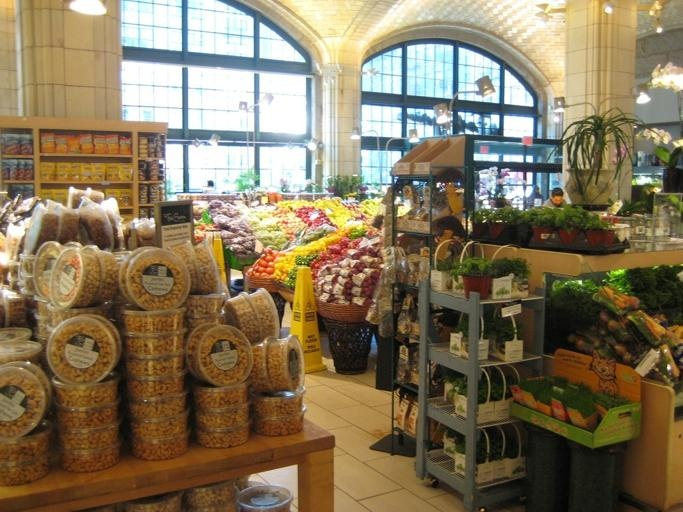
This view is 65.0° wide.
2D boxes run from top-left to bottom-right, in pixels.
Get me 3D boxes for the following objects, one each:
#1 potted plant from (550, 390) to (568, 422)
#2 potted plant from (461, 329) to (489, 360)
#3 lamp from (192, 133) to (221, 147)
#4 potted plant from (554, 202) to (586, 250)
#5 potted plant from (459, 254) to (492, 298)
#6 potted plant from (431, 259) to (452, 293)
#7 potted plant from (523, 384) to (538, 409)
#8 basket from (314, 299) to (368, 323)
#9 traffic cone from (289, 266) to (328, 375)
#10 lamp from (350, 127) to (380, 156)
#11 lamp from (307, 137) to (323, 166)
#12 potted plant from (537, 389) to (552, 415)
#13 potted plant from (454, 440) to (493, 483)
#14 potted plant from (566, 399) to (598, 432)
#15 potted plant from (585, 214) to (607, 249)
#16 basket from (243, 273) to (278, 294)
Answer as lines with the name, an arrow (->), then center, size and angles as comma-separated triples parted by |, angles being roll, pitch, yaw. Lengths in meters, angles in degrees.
potted plant -> 1.135, 0.770, 2.788 | 0.084, 0.121, 0.154 | 2, 8, 18
potted plant -> 0.759, 0.507, 3.008 | 0.173, 0.129, 0.161 | 0, 7, 4
lamp -> -3.903, -3.289, 15.529 | 0.859, 0.307, 0.611 | -3, 7, -14
potted plant -> 1.279, -0.165, 3.036 | 0.222, 0.248, 0.242 | 0, 10, 12
potted plant -> 0.747, 0.121, 2.982 | 0.159, 0.217, 0.177 | -1, 7, -6
potted plant -> 0.596, 0.128, 3.194 | 0.120, 0.171, 0.193 | -2, 5, -14
potted plant -> 1.020, 0.759, 2.909 | 0.066, 0.110, 0.129 | -3, 8, -19
basket -> 0.029, 0.526, 5.034 | 0.300, 0.102, 0.265 | -1, 4, -22
traffic cone -> -0.330, 0.621, 5.297 | 0.333, 1.023, 0.498 | -1, 7, -4
lamp -> 0.858, -3.941, 18.229 | 1.198, 0.929, 0.663 | -8, 14, -25
lamp -> -0.839, -3.380, 17.273 | 0.522, 0.792, 1.641 | -1, 7, -3
potted plant -> 1.083, 0.774, 2.826 | 0.062, 0.101, 0.096 | -4, 8, -23
potted plant -> 0.769, 1.167, 3.071 | 0.207, 0.111, 0.194 | 0, 3, -29
potted plant -> 1.213, 0.799, 2.699 | 0.112, 0.121, 0.113 | -6, 9, -37
potted plant -> 1.398, -0.136, 3.043 | 0.159, 0.186, 0.183 | 0, 8, 7
basket -> -0.928, 0.310, 6.261 | 0.419, 0.146, 0.333 | 5, 5, 34
